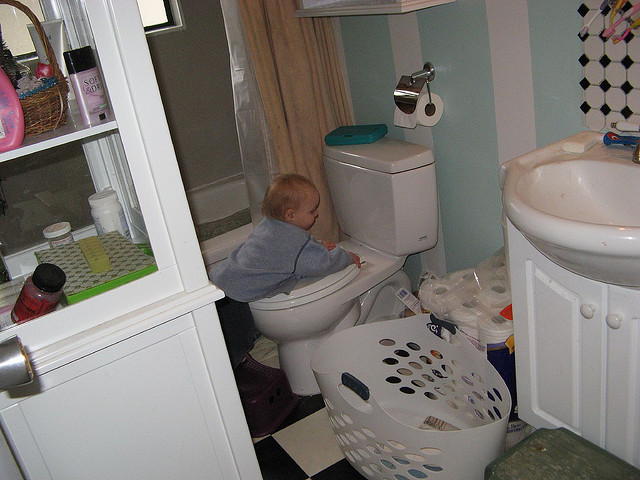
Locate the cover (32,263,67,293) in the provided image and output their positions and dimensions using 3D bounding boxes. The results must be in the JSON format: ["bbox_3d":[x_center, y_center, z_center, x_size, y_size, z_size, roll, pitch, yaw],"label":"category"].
[{"bbox_3d":[-0.626,0.086,1.156,0.061,0.048,0.064,14,42,-7],"label":"cover"}]

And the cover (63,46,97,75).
[{"bbox_3d":[-0.549,-0.409,1.135,0.058,0.067,0.035,-11,25,-5],"label":"cover"}]

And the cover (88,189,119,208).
[{"bbox_3d":[-0.547,-0.105,1.250,0.050,0.021,0.052,-3,20,8],"label":"cover"}]

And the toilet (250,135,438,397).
[{"bbox_3d":[0.063,0.094,2.240,0.846,0.977,0.472,-17,28,-27],"label":"toilet"}]

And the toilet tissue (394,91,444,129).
[{"bbox_3d":[0.410,-0.512,2.035,0.158,0.141,0.158,-21,22,-32],"label":"toilet tissue"}]

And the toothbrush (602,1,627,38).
[{"bbox_3d":[0.848,-0.634,1.424,0.006,0.092,0.020,-17,39,-32],"label":"toothbrush"}]

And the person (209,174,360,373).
[{"bbox_3d":[-0.152,0.108,2.072,0.607,0.734,0.263,-14,25,-17],"label":"person"}]
